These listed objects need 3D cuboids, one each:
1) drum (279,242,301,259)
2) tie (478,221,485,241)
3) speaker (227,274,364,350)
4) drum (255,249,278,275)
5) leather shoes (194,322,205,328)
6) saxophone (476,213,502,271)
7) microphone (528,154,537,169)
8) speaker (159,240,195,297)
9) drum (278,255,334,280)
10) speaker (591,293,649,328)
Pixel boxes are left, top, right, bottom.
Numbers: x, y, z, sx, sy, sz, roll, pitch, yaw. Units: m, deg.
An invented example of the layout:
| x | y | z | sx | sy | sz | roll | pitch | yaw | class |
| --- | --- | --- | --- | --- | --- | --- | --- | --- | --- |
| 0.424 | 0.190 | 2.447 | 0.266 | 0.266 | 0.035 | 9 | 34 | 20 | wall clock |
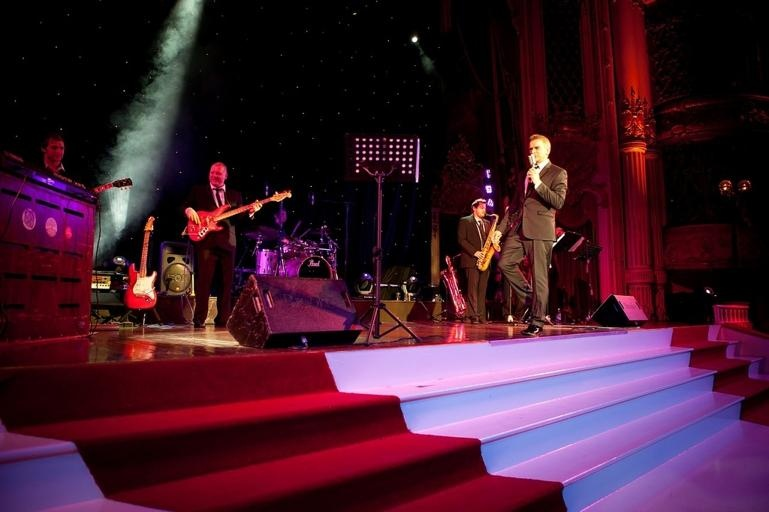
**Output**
| x | y | z | sx | sy | sz | roll | pitch | yaw | class |
| --- | --- | --- | --- | --- | --- | --- | --- | --- | --- |
| -1.693 | -0.126 | 9.320 | 0.289 | 0.312 | 0.115 | -10 | -27 | -19 | drum |
| 1.738 | -0.430 | 9.122 | 0.067 | 0.307 | 0.204 | -3 | -1 | -6 | tie |
| -0.873 | 0.544 | 5.102 | 1.223 | 0.696 | 0.485 | 1 | -3 | -25 | speaker |
| -2.075 | 0.123 | 9.114 | 0.394 | 0.422 | 0.413 | -2 | -4 | 28 | drum |
| -2.545 | 0.955 | 7.047 | 0.147 | 0.087 | 0.085 | 2 | 12 | -28 | leather shoes |
| 1.779 | -0.236 | 8.846 | 0.427 | 0.290 | 1.273 | -9 | -47 | -12 | saxophone |
| 1.894 | -1.198 | 6.502 | 0.036 | 0.154 | 0.144 | -4 | -5 | -9 | microphone |
| -3.503 | 0.285 | 8.765 | 0.515 | 1.008 | 0.527 | -1 | -18 | -11 | speaker |
| -1.509 | 0.224 | 9.917 | 0.639 | 0.699 | 0.664 | 2 | 5 | -27 | drum |
| 3.557 | 0.824 | 7.702 | 0.751 | 0.455 | 0.468 | 1 | -3 | -17 | speaker |
